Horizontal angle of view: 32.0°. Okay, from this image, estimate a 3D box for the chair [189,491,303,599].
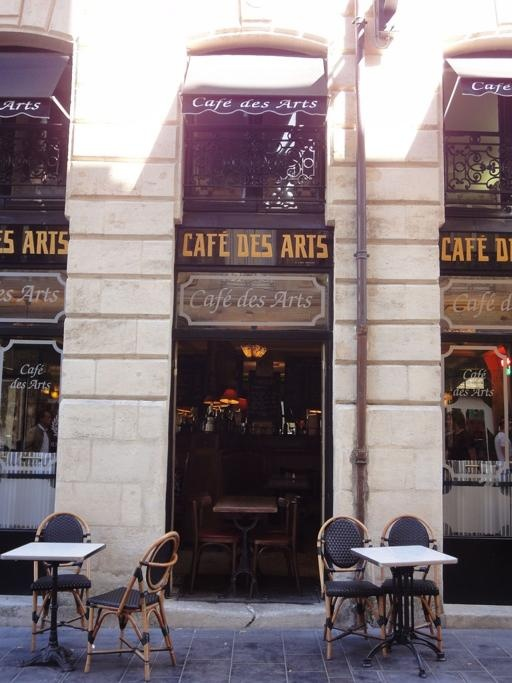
[{"bbox_3d":[-0.152,2.329,9.741,0.949,0.846,1.501,1,-11,3],"label":"chair"}]
